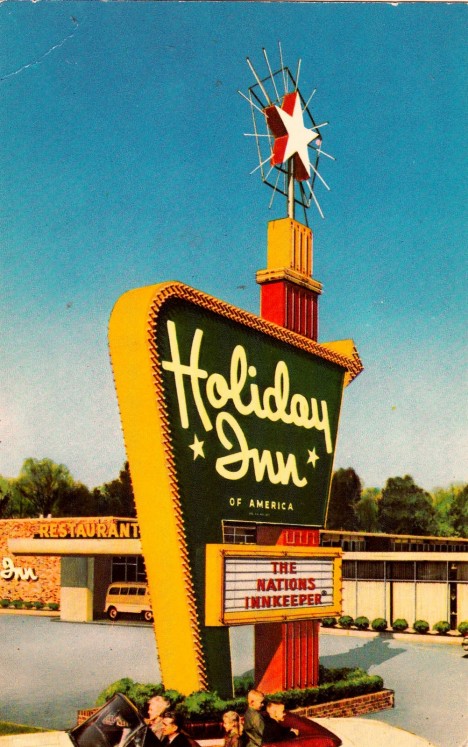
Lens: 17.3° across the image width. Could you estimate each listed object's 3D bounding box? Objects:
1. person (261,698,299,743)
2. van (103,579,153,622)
[{"bbox_3d":[0.896,6.794,30.071,0.628,0.782,0.553,1,-11,1],"label":"person"},{"bbox_3d":[-3.881,8.442,57.639,0.779,1.394,2.481,11,-16,-43],"label":"van"}]
